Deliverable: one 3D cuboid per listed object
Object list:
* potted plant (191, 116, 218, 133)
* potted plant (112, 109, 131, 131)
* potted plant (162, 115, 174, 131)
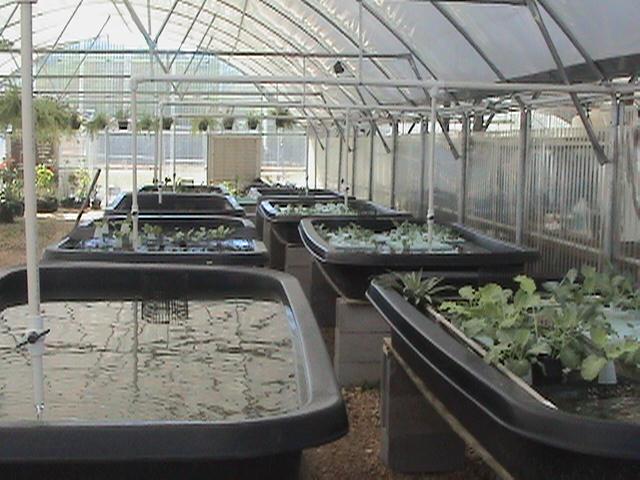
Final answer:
[{"bbox_3d":[-3.807,-3.702,19.347,0.826,0.443,2.285,-6,11,-8],"label":"potted plant"},{"bbox_3d":[-5.465,-3.295,16.349,0.440,0.806,0.688,-2,13,-11],"label":"potted plant"},{"bbox_3d":[-4.424,-3.337,17.086,0.250,0.329,3.044,-5,11,-14],"label":"potted plant"}]
